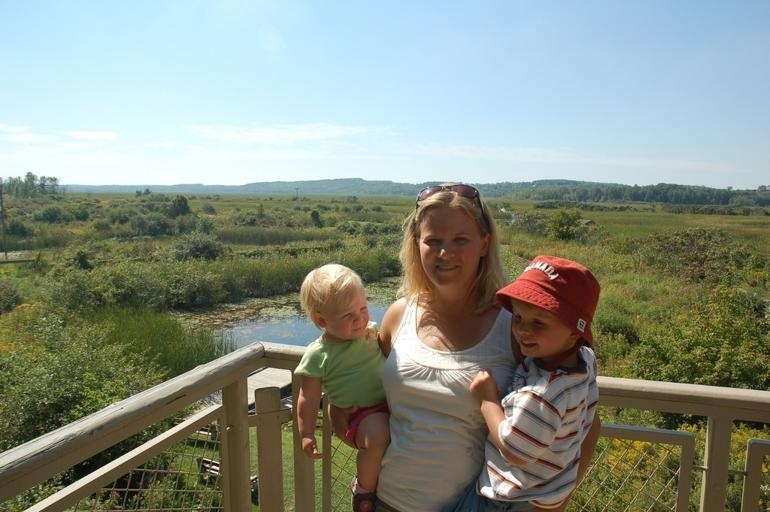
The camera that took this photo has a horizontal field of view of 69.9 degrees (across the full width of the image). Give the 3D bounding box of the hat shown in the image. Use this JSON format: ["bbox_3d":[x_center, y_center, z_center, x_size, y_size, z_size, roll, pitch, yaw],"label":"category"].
[{"bbox_3d":[0.943,0.211,3.224,0.554,0.342,0.462,27,-2,0],"label":"hat"}]
